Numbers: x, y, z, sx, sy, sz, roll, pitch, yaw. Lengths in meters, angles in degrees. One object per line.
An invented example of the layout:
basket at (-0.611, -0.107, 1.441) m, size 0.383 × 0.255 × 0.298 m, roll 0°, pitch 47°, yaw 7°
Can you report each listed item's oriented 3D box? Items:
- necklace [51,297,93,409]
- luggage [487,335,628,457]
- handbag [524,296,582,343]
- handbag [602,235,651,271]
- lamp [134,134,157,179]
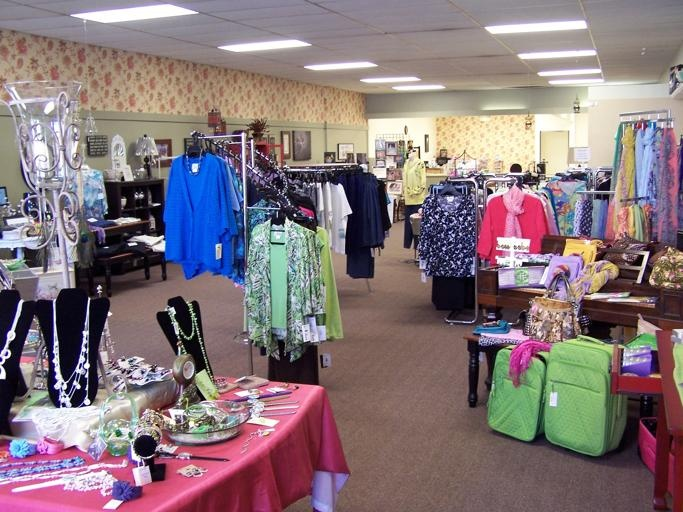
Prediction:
necklace at (-1.278, 0.429, 2.310) m, size 0.227 × 0.636 × 0.062 m, roll 1°, pitch 19°, yaw -26°
luggage at (1.535, 0.989, 3.542) m, size 0.882 × 0.833 × 0.402 m, roll 8°, pitch 13°, yaw 44°
handbag at (1.603, 0.491, 3.702) m, size 0.246 × 0.331 × 0.412 m, roll 2°, pitch 4°, yaw -31°
handbag at (2.387, -0.029, 4.056) m, size 0.271 × 0.089 × 0.305 m, roll 6°, pitch 55°, yaw 48°
lamp at (-3.800, -1.957, 9.501) m, size 0.398 × 0.842 × 0.426 m, roll -2°, pitch -1°, yaw 36°
